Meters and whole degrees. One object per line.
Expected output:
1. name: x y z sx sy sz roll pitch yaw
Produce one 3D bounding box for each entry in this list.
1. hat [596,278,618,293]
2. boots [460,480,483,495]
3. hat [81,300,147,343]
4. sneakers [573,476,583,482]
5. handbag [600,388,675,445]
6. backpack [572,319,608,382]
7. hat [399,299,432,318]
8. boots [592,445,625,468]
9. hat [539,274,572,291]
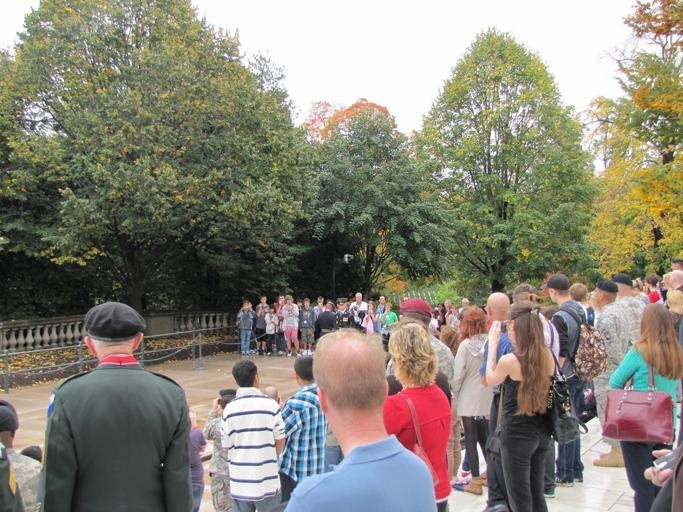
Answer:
1. hat: 3.963 0.444 10.387 0.288 0.230 0.225 -1 -7 5
2. boots: 1.850 3.264 9.800 0.361 0.161 0.126 1 -4 32
3. hat: -2.394 0.653 7.394 0.648 0.298 0.778 6 9 -22
4. sneakers: 3.371 3.199 9.938 0.134 0.096 0.046 -2 1 -25
5. handbag: 3.613 1.943 8.430 0.706 0.720 0.288 1 -9 21
6. backpack: 3.430 1.315 9.649 0.421 0.779 0.249 -3 -7 18
7. hat: 0.985 0.681 9.216 0.244 0.178 0.351 3 6 6
8. boots: 4.090 3.054 10.464 0.578 0.403 0.212 -3 -17 26
9. hat: 3.042 0.384 9.914 0.249 0.216 0.339 -2 6 -13
